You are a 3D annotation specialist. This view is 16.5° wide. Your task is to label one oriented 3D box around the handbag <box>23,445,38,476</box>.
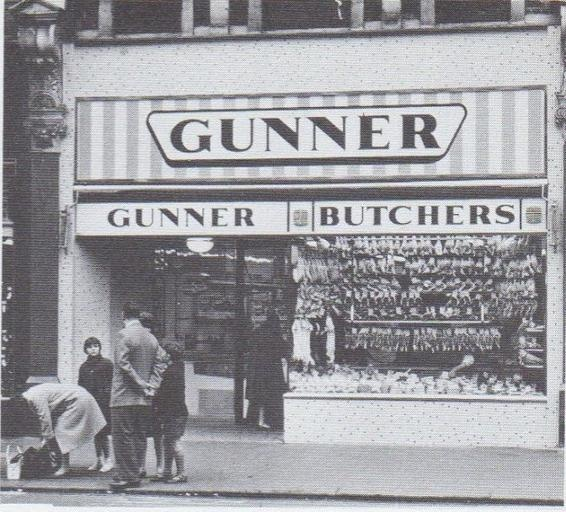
[{"bbox_3d":[-2.823,2.257,21.670,0.173,0.342,0.035,-1,-4,-8],"label":"handbag"}]
